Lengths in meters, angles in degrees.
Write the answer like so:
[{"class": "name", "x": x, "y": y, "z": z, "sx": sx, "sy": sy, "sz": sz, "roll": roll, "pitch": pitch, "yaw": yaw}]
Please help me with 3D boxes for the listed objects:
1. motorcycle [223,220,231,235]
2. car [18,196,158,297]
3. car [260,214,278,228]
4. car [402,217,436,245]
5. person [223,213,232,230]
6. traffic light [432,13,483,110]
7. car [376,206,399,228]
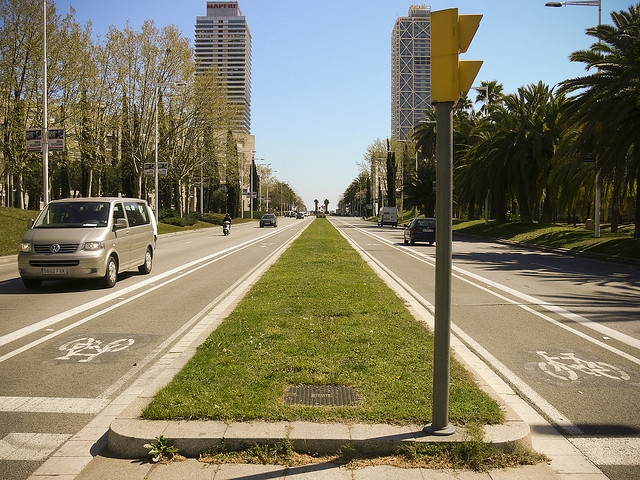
[{"class": "motorcycle", "x": -6.955, "y": -0.878, "z": 44.955, "sx": 0.370, "sy": 0.952, "sz": 0.857, "roll": -2, "pitch": 7, "yaw": -16}, {"class": "car", "x": -6.128, "y": 0.021, "z": 16.660, "sx": 1.960, "sy": 1.813, "sz": 4.314, "roll": -1, "pitch": -2, "yaw": 3}, {"class": "car", "x": -5.403, "y": -2.043, "z": 64.602, "sx": 1.578, "sy": 1.452, "sz": 2.442, "roll": -1, "pitch": 7, "yaw": -10}, {"class": "car", "x": 5.819, "y": -0.404, "z": 34.388, "sx": 1.355, "sy": 1.597, "sz": 2.377, "roll": -1, "pitch": 7, "yaw": -9}, {"class": "person", "x": -7.104, "y": -1.454, "z": 45.701, "sx": 0.565, "sy": 1.063, "sz": 0.580, "roll": -2, "pitch": -6, "yaw": 3}, {"class": "traffic light", "x": 1.607, "y": -2.099, "z": 7.076, "sx": 0.586, "sy": 1.160, "sz": 0.504, "roll": -5, "pitch": -10, "yaw": 42}, {"class": "car", "x": 8.098, "y": -2.674, "z": 69.787, "sx": 1.780, "sy": 1.723, "sz": 3.154, "roll": 1, "pitch": 5, "yaw": 2}]
